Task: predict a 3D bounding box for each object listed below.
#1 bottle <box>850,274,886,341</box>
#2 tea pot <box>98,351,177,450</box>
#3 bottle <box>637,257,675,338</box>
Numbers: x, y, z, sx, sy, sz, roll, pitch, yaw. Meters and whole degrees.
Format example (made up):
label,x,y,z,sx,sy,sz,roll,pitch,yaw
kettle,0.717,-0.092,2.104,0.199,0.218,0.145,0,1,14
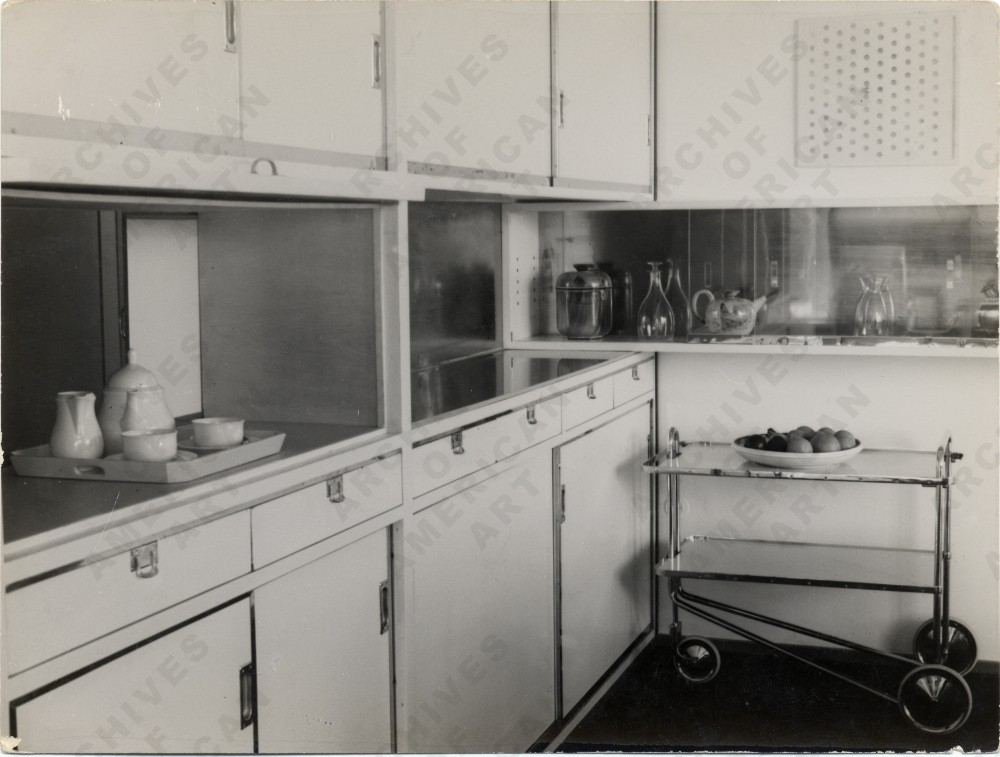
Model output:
label,x,y,z,sx,sy,sz,roll,pitch,yaw
bottle,1.291,-0.251,3.175,0.105,0.204,0.114,-1,7,0
tea pot,-0.635,0.039,1.632,0.146,0.210,0.170,0,-7,-14
bottle,0.565,-0.287,3.314,0.140,0.261,0.259,0,7,9
